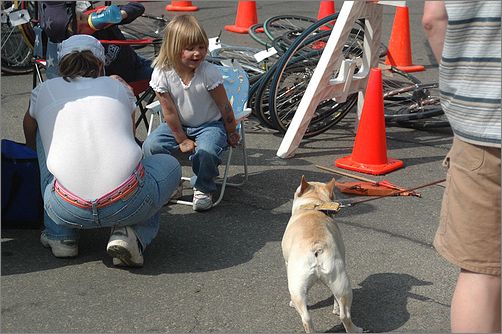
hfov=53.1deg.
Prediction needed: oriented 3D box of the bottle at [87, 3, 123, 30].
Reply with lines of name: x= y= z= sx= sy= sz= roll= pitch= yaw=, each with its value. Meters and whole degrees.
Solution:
bottle: x=-1.458 y=-1.480 z=4.947 sx=0.348 sy=0.245 sz=0.215 roll=2 pitch=22 yaw=-4

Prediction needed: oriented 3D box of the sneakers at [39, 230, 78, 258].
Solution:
sneakers: x=-1.577 y=0.594 z=4.088 sx=0.155 sy=0.161 sz=0.354 roll=-5 pitch=25 yaw=-45

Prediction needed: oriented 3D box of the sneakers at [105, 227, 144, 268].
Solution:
sneakers: x=-0.983 y=0.631 z=3.892 sx=0.191 sy=0.379 sz=0.175 roll=-9 pitch=58 yaw=4

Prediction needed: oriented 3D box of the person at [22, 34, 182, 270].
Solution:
person: x=-1.207 y=-0.099 z=3.862 sx=1.063 sy=1.716 sz=0.675 roll=10 pitch=23 yaw=13
